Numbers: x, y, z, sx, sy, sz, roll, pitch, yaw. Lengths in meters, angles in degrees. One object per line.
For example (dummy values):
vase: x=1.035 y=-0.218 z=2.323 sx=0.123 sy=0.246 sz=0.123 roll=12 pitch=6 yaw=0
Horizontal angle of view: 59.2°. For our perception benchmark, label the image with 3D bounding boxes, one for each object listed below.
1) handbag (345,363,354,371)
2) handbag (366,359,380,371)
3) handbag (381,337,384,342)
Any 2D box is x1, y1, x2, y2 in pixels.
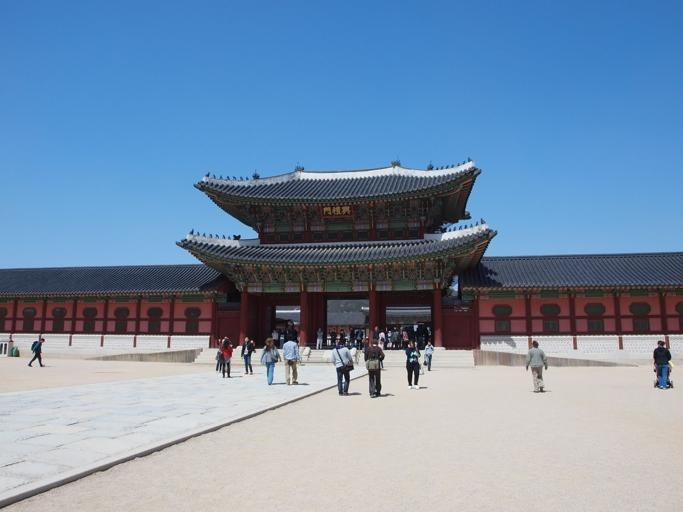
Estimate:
handbag: x=0.314 y=3.976 z=21.490 sx=0.418 sy=0.304 sz=0.252 roll=-4 pitch=-22 yaw=0
handbag: x=1.087 y=3.800 z=20.777 sx=0.508 sy=0.447 sz=0.341 roll=1 pitch=-23 yaw=1
handbag: x=2.483 y=5.095 z=36.381 sx=0.252 sy=0.352 sz=0.208 roll=0 pitch=-13 yaw=0
